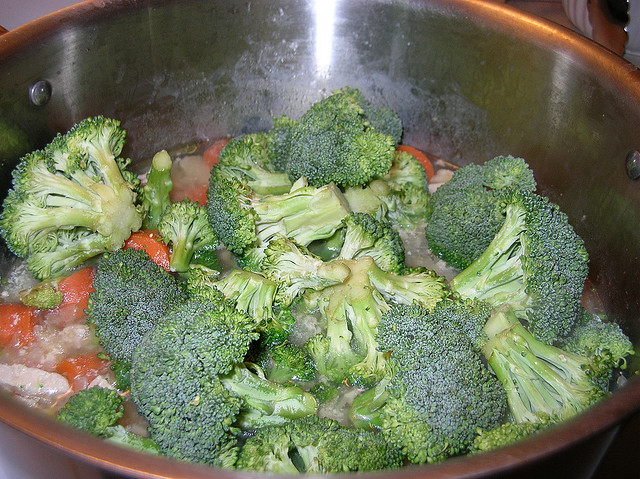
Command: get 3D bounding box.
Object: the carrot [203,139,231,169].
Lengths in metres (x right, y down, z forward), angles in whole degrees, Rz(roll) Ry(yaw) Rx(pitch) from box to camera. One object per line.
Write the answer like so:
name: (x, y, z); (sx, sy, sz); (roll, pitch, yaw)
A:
carrot: (-0.405, -0.323, 2.209); (0.066, 0.098, 0.122); (42, 73, -21)

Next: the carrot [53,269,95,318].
carrot: (-0.735, 0.161, 1.743); (0.115, 0.040, 0.140); (-17, 72, -4)

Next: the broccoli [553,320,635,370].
broccoli: (0.801, 0.272, 1.654); (0.158, 0.142, 0.065); (3, 106, 32)

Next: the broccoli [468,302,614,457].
broccoli: (0.579, 0.384, 1.670); (0.449, 0.439, 0.207); (26, 110, 28)

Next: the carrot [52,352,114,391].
carrot: (-0.672, 0.367, 1.627); (0.050, 0.188, 0.141); (-52, 52, 14)

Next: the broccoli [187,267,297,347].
broccoli: (-0.232, 0.171, 1.743); (0.333, 0.380, 0.131); (18, 98, 5)

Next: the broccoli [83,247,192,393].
broccoli: (-0.520, 0.234, 1.721); (0.284, 0.126, 0.352); (-34, 66, -4)

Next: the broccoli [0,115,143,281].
broccoli: (-0.803, -0.139, 1.851); (0.434, 0.228, 0.408); (-23, 72, -6)

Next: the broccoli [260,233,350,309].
broccoli: (-0.048, 0.116, 1.754); (0.293, 0.267, 0.103); (-5, 106, 8)

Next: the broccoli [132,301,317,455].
broccoli: (-0.244, 0.373, 1.517); (0.386, 0.364, 0.268); (16, 114, -1)

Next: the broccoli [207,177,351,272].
broccoli: (-0.141, -0.086, 1.851); (0.356, 0.200, 0.307); (-22, 63, -11)

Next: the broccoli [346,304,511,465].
broccoli: (0.273, 0.360, 1.485); (0.324, 0.089, 0.396); (-33, 74, -9)

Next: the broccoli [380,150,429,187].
broccoli: (0.305, -0.242, 2.091); (0.139, 0.057, 0.119); (34, 50, -6)

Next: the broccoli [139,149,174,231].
broccoli: (-0.546, -0.176, 2.015); (0.105, 0.100, 0.332); (9, 51, -28)

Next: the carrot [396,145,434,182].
carrot: (0.346, -0.269, 2.183); (0.124, 0.136, 0.036); (35, 109, -20)

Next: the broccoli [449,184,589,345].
broccoli: (0.599, 0.066, 1.829); (0.377, 0.396, 0.437); (-42, 81, -1)

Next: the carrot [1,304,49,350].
carrot: (-0.878, 0.252, 1.682); (0.123, 0.063, 0.134); (6, 71, 3)

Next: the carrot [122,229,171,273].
carrot: (-0.545, 0.022, 1.875); (0.128, 0.129, 0.070); (41, 82, 9)
